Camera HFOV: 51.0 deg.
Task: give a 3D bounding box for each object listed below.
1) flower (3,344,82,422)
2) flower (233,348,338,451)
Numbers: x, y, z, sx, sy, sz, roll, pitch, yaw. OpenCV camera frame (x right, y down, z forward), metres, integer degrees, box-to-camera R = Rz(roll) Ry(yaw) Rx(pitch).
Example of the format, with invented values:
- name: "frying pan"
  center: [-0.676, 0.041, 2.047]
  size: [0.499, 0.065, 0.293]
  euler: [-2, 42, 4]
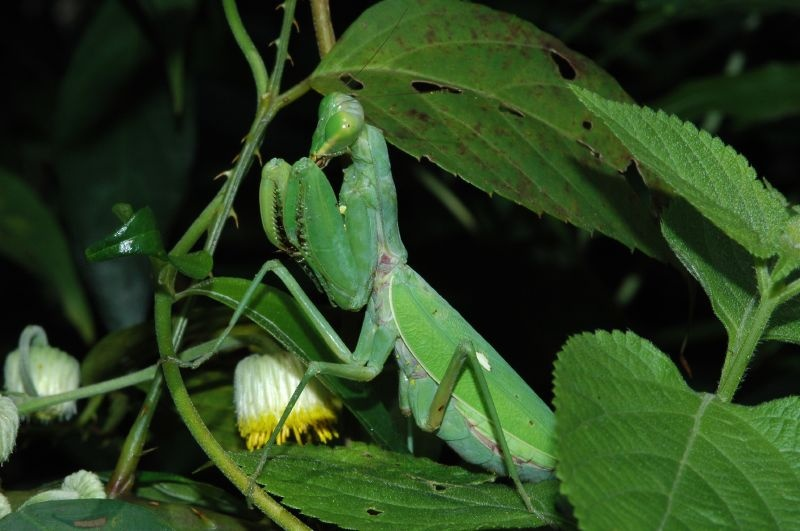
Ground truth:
- name: "flower"
  center: [-0.772, 0.251, 1.806]
  size: [0.150, 0.153, 0.234]
  euler: [0, -13, -22]
- name: "flower"
  center: [-0.244, 0.312, 1.932]
  size: [0.240, 0.240, 0.191]
  euler: [1, -18, -5]
